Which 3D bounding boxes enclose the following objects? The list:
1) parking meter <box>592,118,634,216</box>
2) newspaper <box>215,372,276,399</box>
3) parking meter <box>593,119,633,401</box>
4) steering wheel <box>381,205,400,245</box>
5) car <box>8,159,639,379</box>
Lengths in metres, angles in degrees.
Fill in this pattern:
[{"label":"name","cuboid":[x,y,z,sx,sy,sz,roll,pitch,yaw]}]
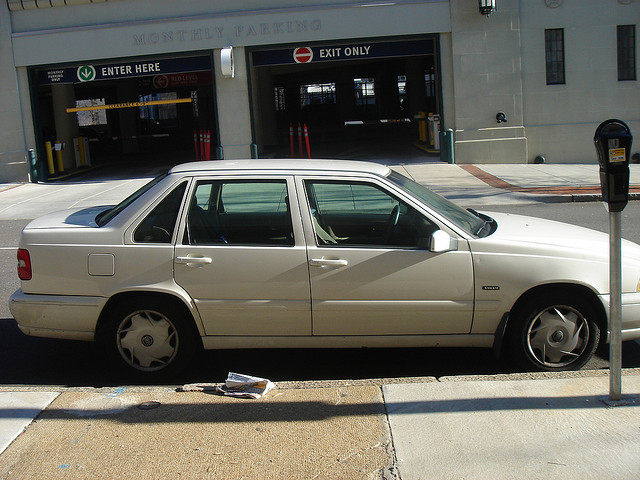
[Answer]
[{"label":"parking meter","cuboid":[1.956,-0.475,3.578,0.210,0.619,0.079,3,16,23]},{"label":"newspaper","cuboid":[-0.619,1.203,4.442,0.500,0.140,0.271,-4,13,-7]},{"label":"parking meter","cuboid":[2.087,0.165,3.848,0.281,2.009,0.424,3,16,26]},{"label":"steering wheel","cuboid":[0.655,-0.134,4.882,0.047,0.295,0.313,23,20,0]},{"label":"car","cuboid":[-0.001,0.209,5.310,5.657,1.362,2.204,-1,10,1]}]
